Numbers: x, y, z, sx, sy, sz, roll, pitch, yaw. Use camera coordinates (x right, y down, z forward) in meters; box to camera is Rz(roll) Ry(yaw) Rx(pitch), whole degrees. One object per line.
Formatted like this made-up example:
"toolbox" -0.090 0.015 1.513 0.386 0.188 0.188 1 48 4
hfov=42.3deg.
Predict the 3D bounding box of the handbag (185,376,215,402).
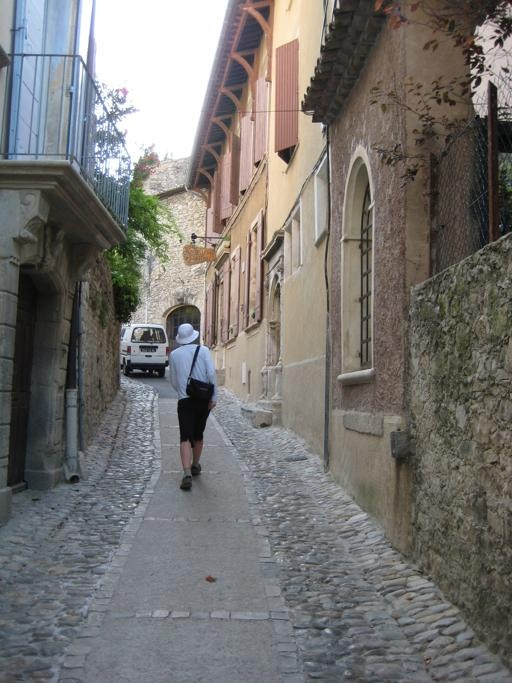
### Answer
"handbag" -0.601 0.545 7.163 0.337 0.270 0.118 3 -2 -44

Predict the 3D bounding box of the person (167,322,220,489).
"person" -0.698 0.685 7.336 0.500 1.780 1.229 1 -2 -6

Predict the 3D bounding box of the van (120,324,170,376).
"van" -4.183 0.257 24.337 1.095 1.417 2.123 0 2 -15

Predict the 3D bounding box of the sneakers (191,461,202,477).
"sneakers" -0.699 1.509 7.712 0.126 0.227 0.464 0 -12 -3

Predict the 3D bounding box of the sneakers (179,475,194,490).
"sneakers" -0.721 1.471 6.830 0.121 0.164 0.259 1 -2 -7
